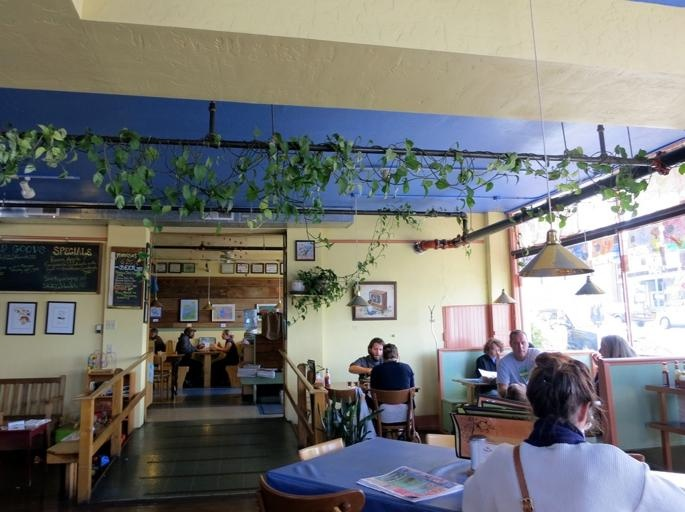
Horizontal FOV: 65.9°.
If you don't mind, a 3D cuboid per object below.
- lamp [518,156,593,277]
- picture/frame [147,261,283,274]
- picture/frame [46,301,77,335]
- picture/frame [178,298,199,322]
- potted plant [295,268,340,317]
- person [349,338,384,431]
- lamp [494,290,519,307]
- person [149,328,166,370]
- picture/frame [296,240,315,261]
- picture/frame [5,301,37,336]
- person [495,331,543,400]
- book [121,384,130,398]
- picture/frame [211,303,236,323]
[{"bbox_3d":[1.481,-0.091,3.616,0.415,0.624,0.399,-1,-5,-11],"label":"lamp"},{"bbox_3d":[-3.028,0.287,13.035,2.999,0.381,0.116,-1,-3,-10],"label":"picture/frame"},{"bbox_3d":[-4.080,0.913,7.642,0.459,0.610,0.025,2,-7,-9],"label":"picture/frame"},{"bbox_3d":[-3.720,1.319,12.755,0.568,0.687,0.050,1,-10,-14],"label":"picture/frame"},{"bbox_3d":[-0.359,0.580,8.376,0.795,0.776,0.687,8,-10,-29],"label":"potted plant"},{"bbox_3d":[0.304,1.599,6.485,0.525,0.632,1.115,3,35,1],"label":"person"},{"bbox_3d":[2.528,0.648,8.080,0.259,0.149,0.258,0,-1,-20],"label":"lamp"},{"bbox_3d":[-3.903,1.907,11.163,0.269,0.729,1.683,0,-3,-20],"label":"person"},{"bbox_3d":[-0.588,-0.085,8.301,0.318,0.326,0.032,2,-17,-11],"label":"picture/frame"},{"bbox_3d":[-4.636,0.910,7.591,0.491,0.644,0.026,1,-10,-9],"label":"picture/frame"},{"bbox_3d":[2.038,1.373,6.030,0.536,1.033,0.548,-6,-4,17],"label":"person"},{"bbox_3d":[-3.034,1.894,7.419,0.107,0.140,0.045,1,-19,-5],"label":"book"},{"bbox_3d":[-2.914,1.406,12.855,0.453,0.385,0.156,3,-20,-10],"label":"picture/frame"}]
